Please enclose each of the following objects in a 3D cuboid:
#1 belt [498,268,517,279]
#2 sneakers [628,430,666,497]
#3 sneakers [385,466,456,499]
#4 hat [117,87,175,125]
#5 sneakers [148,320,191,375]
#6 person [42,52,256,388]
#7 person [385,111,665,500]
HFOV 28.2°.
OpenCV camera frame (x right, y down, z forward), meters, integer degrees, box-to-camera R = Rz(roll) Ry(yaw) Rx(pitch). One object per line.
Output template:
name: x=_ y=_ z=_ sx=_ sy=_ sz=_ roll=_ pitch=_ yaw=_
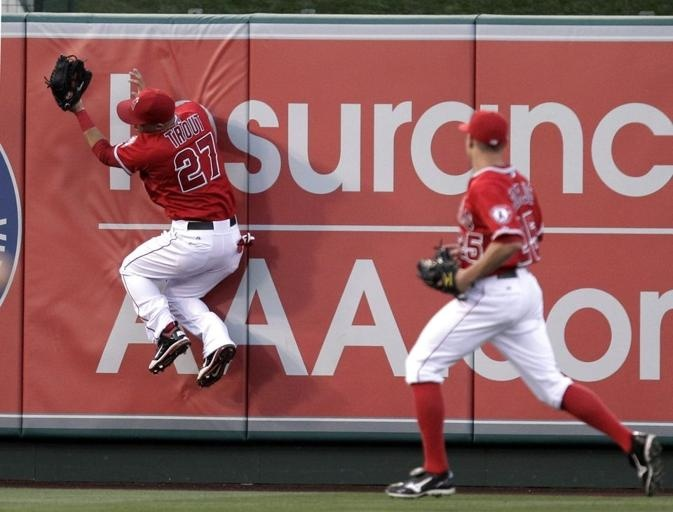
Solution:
belt: x=1.003 y=0.103 z=7.799 sx=0.075 sy=0.071 sz=0.020 roll=0 pitch=-11 yaw=0
sneakers: x=1.823 y=1.184 z=7.856 sx=0.182 sy=0.406 sz=0.149 roll=-10 pitch=12 yaw=12
sneakers: x=0.516 y=1.348 z=7.934 sx=0.429 sy=0.192 sz=0.162 roll=1 pitch=-8 yaw=-6
hat: x=-1.189 y=-0.943 z=8.421 sx=0.313 sy=0.210 sz=0.161 roll=3 pitch=-30 yaw=2
sneakers: x=-1.062 y=0.580 z=8.564 sx=0.287 sy=0.213 sz=0.100 roll=-44 pitch=-57 yaw=6
person: x=-1.101 y=-0.219 z=8.532 sx=1.101 sy=2.040 sz=0.576 roll=10 pitch=-17 yaw=-39
person: x=0.982 y=0.273 z=7.855 sx=1.427 sy=2.187 sz=0.650 roll=-2 pitch=-13 yaw=1
